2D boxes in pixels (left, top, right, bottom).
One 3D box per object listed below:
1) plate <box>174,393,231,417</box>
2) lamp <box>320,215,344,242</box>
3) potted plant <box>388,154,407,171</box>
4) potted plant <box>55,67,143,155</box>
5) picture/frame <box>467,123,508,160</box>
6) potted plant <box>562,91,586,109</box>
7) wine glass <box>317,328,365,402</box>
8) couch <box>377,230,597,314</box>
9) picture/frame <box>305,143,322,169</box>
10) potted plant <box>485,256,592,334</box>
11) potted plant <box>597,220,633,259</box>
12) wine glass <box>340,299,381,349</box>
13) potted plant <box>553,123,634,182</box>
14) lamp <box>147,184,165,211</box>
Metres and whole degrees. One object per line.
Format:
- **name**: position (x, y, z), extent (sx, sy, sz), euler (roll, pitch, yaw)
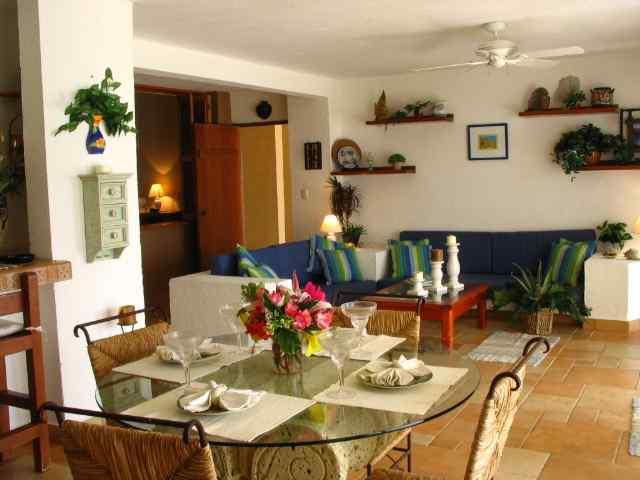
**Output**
- **plate**: position (-0.431, 0.577, 1.736), extent (0.102, 0.022, 0.104), euler (4, 3, 11)
- **lamp**: position (0.183, -0.190, 6.937), extent (0.341, 0.529, 0.358), euler (-2, 7, 13)
- **potted plant**: position (1.055, -1.059, 6.743), extent (0.221, 0.215, 0.227), euler (1, 4, 21)
- **potted plant**: position (-1.576, -0.888, 3.457), extent (0.503, 0.543, 0.518), euler (-1, 12, -32)
- **picture/frame**: position (2.170, -1.276, 6.363), extent (0.482, 0.425, 0.049), euler (2, 11, 24)
- **potted plant**: position (3.015, -1.649, 5.822), extent (0.270, 0.223, 0.201), euler (-1, 7, 3)
- **wine glass**: position (0.083, 0.466, 1.930), extent (0.206, 0.252, 0.215), euler (1, 3, 34)
- **couch**: position (2.137, 0.441, 6.110), extent (2.436, 0.955, 0.749), euler (0, 16, -10)
- **picture/frame**: position (-0.104, -1.197, 7.036), extent (0.277, 0.394, 0.072), euler (3, 9, 36)
- **potted plant**: position (2.428, 0.578, 5.389), extent (0.821, 0.571, 0.740), euler (-5, 7, -39)
- **potted plant**: position (3.262, -0.003, 5.671), extent (0.418, 0.413, 0.417), euler (3, -5, -6)
- **wine glass**: position (0.160, 0.365, 2.251), extent (0.208, 0.271, 0.208), euler (-2, -1, -5)
- **potted plant**: position (3.185, -1.011, 5.785), extent (0.642, 0.443, 0.608), euler (-1, 6, 8)
- **lamp**: position (-2.573, -0.680, 7.773), extent (0.251, 0.400, 0.152), euler (-4, 7, -20)
